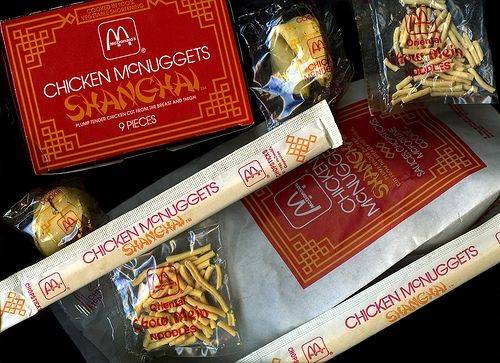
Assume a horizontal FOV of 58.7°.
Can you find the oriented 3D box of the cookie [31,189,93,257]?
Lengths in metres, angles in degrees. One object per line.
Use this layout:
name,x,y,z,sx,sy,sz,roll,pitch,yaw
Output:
cookie,-0.474,0.072,1.144,0.157,0.148,0.092,-34,15,-14
